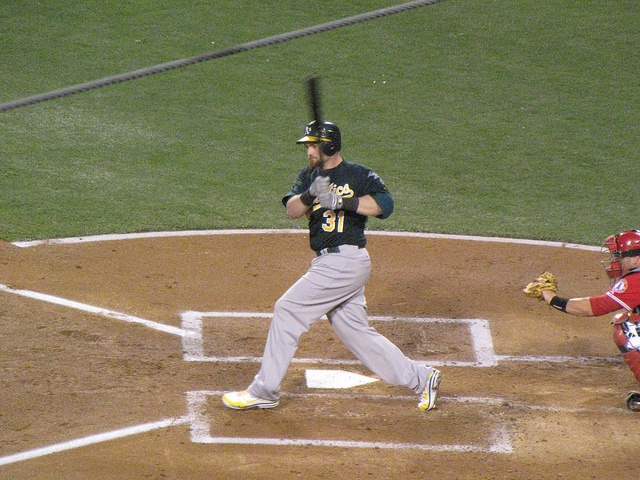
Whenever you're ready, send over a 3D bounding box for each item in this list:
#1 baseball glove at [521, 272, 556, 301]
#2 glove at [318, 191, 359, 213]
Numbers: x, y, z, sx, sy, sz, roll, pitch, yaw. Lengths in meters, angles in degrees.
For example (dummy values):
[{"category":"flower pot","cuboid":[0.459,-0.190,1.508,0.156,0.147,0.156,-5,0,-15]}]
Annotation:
[{"category":"baseball glove","cuboid":[2.329,0.477,13.769,0.294,0.119,0.340,22,42,34]},{"category":"glove","cuboid":[0.211,-0.385,13.208,0.392,0.172,0.115,17,43,3]}]
